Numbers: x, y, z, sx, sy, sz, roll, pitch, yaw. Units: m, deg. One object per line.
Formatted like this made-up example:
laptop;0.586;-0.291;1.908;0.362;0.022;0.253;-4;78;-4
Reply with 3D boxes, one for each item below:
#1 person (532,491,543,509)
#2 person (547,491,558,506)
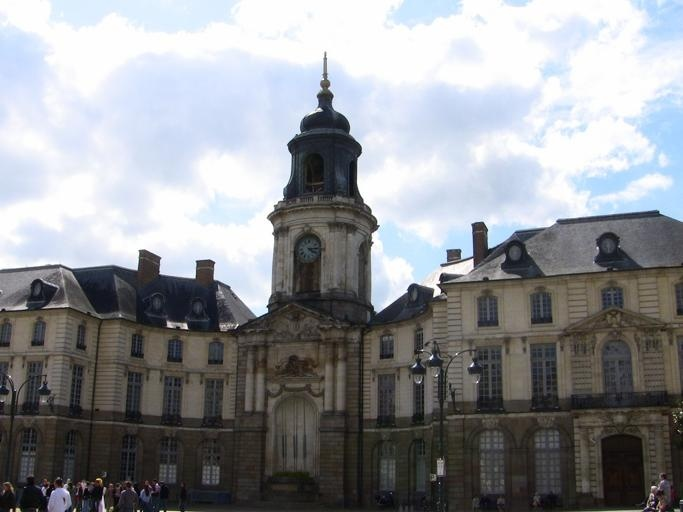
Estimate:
person;12.646;15.714;57.492;0.629;1.120;0.907;-5;-18;12
person;13.618;15.600;57.455;0.747;1.352;0.419;-1;-2;15
